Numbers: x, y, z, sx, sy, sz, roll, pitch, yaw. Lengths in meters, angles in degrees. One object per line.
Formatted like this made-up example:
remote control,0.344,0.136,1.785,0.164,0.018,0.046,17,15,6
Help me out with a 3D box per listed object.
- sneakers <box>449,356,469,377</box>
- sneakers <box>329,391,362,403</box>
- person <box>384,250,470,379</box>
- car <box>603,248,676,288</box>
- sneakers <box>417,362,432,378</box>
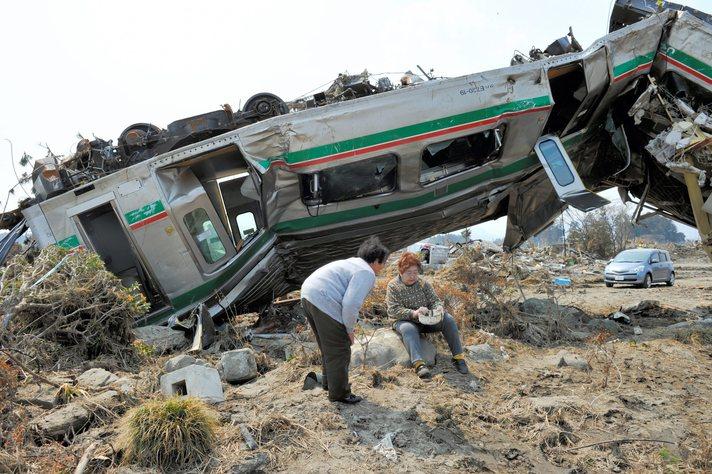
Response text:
sneakers,1.639,2.004,8.371,0.207,0.286,0.357,-15,9,-1
sneakers,-0.144,2.219,7.390,0.485,0.205,0.165,-3,5,-11
person,1.029,1.239,8.376,0.939,2.024,0.940,-16,9,-7
car,10.615,1.110,19.462,1.425,1.004,2.340,-9,-12,41
sneakers,1.013,2.052,8.047,0.225,0.227,0.172,-14,9,1
